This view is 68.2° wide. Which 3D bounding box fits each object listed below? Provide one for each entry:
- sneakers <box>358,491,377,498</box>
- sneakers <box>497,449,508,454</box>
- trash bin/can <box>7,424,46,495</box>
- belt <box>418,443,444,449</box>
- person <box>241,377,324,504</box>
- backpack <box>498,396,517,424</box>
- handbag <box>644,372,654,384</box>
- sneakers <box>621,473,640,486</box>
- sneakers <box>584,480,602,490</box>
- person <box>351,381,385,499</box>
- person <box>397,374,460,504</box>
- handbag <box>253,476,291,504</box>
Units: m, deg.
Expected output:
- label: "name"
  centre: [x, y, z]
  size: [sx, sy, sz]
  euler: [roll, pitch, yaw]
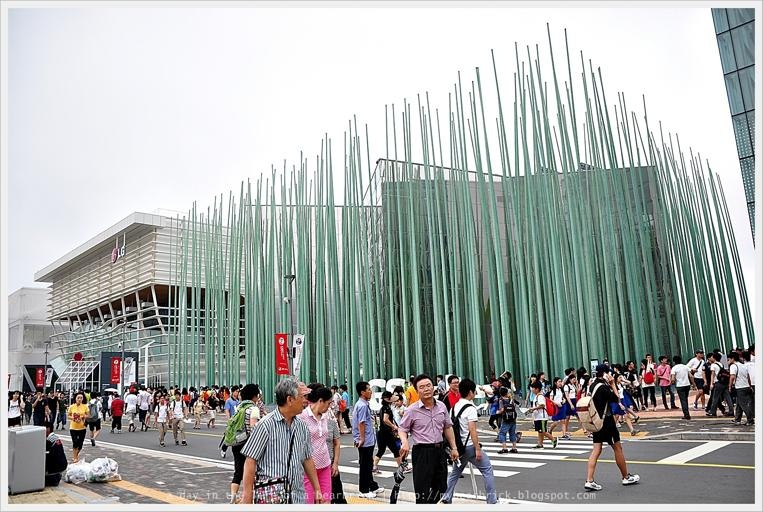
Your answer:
- label: "sneakers"
  centre: [-0.256, 4.523, 10.748]
  size: [0.310, 0.134, 0.118]
  euler: [1, -12, 2]
- label: "sneakers"
  centre: [3.321, 5.347, 15.490]
  size: [0.286, 0.129, 0.114]
  euler: [-4, -22, 22]
- label: "trash bin/can"
  centre: [-7.483, 4.294, 11.902]
  size: [0.698, 1.320, 0.367]
  euler: [4, -13, -35]
- label: "belt"
  centre: [0.714, 2.778, 8.266]
  size: [0.350, 0.077, 0.053]
  euler: [-4, -11, 1]
- label: "person"
  centre: [-1.230, 2.206, 6.679]
  size: [0.790, 1.461, 0.404]
  euler: [0, -11, -15]
- label: "backpack"
  centre: [3.416, 4.182, 15.236]
  size: [0.461, 0.696, 0.755]
  euler: [-5, -12, 10]
- label: "handbag"
  centre: [10.236, 4.655, 21.593]
  size: [0.391, 0.419, 0.161]
  euler: [4, -8, 42]
- label: "sneakers"
  centre: [4.924, 4.333, 11.034]
  size: [0.436, 0.213, 0.176]
  euler: [-7, -8, -11]
- label: "sneakers"
  centre: [4.070, 4.355, 10.789]
  size: [0.411, 0.203, 0.153]
  euler: [3, -9, -16]
- label: "person"
  centre: [-0.285, 3.611, 11.165]
  size: [0.503, 2.076, 1.334]
  euler: [-3, -11, -3]
- label: "person"
  centre: [0.700, 2.703, 8.371]
  size: [0.842, 1.839, 0.815]
  euler: [-4, -11, 2]
- label: "handbag"
  centre: [-1.252, 2.683, 6.405]
  size: [0.341, 0.292, 0.115]
  euler: [1, -3, -9]
